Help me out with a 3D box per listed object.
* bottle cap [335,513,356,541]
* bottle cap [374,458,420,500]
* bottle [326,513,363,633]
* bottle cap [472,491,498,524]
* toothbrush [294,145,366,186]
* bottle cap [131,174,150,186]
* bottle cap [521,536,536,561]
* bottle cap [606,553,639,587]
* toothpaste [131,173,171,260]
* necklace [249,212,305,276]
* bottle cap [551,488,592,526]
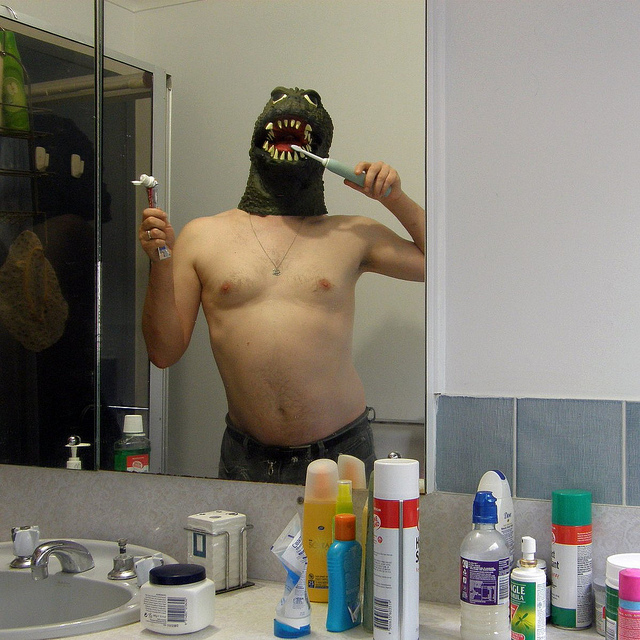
[{"bbox_3d":[0.034,0.272,1.000,0.024,0.032,0.029,0,-6,-19],"label":"bottle cap"},{"bbox_3d":[0.095,0.195,0.931,0.044,0.038,0.044,2,-2,-45],"label":"bottle cap"},{"bbox_3d":[0.033,0.332,0.997,0.044,0.148,0.034,0,-1,-3],"label":"bottle"},{"bbox_3d":[0.204,0.232,0.929,0.029,0.038,0.031,1,4,33],"label":"bottle cap"},{"bbox_3d":[0.013,-0.241,1.160,0.134,0.022,0.019,14,9,-37],"label":"toothbrush"},{"bbox_3d":[-0.300,-0.232,1.267,0.028,0.016,0.027,-2,6,-10],"label":"bottle cap"},{"bbox_3d":[0.258,0.282,0.937,0.013,0.029,0.022,0,-1,12],"label":"bottle cap"},{"bbox_3d":[0.375,0.308,0.934,0.028,0.014,0.031,-3,-1,16],"label":"bottle cap"},{"bbox_3d":[-0.282,-0.172,1.283,0.040,0.140,0.042,-10,9,-8],"label":"toothpaste"},{"bbox_3d":[-0.067,-0.120,1.210,0.076,0.118,0.009,2,-3,6],"label":"necklace"},{"bbox_3d":[0.329,0.246,0.987,0.038,0.036,0.042,0,-5,-9],"label":"bottle cap"}]
